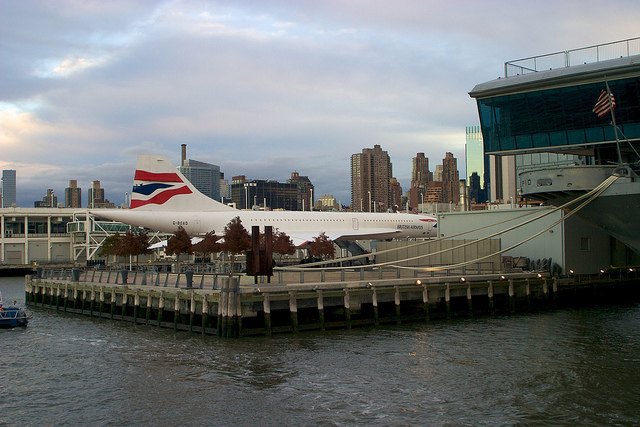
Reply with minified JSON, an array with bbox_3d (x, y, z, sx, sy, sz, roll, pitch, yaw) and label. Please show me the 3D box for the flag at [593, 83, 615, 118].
[{"bbox_3d":[17.868,-7.363,52.353,1.357,2.694,0.220,-14,-43,33],"label":"flag"}]
